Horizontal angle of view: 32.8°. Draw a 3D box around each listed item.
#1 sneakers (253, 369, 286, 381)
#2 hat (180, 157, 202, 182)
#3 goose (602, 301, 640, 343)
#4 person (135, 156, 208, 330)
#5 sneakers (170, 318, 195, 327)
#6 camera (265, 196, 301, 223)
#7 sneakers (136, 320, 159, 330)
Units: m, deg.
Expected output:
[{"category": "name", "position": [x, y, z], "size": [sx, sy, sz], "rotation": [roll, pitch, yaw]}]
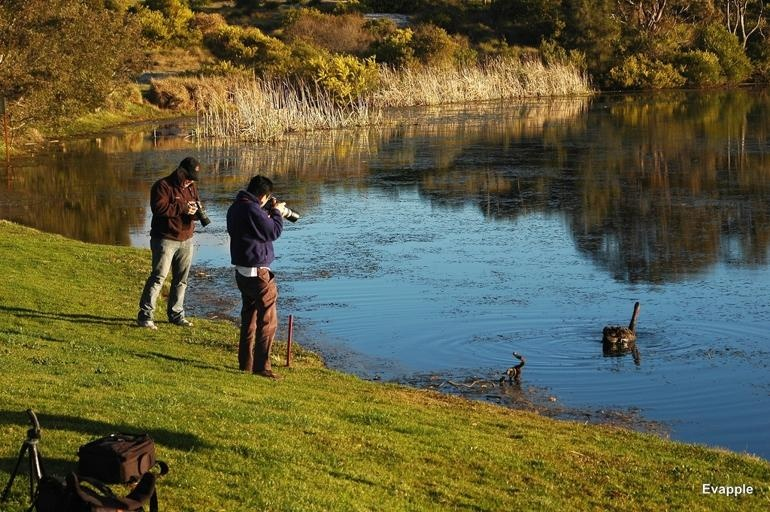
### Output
[{"category": "sneakers", "position": [-2.544, 2.645, 28.915], "size": [0.695, 0.273, 0.229], "rotation": [4, 1, 3]}, {"category": "hat", "position": [-4.523, -2.005, 30.236], "size": [0.439, 0.557, 0.852], "rotation": [2, -2, -8]}, {"category": "goose", "position": [5.559, 1.583, 30.630], "size": [0.708, 0.990, 1.237], "rotation": [1, -2, 26]}, {"category": "person", "position": [-4.927, -0.284, 30.271], "size": [1.335, 3.943, 1.123], "rotation": [2, -2, -8]}, {"category": "sneakers", "position": [-4.775, 1.566, 30.793], "size": [0.605, 0.240, 0.198], "rotation": [1, 6, 0]}, {"category": "camera", "position": [-2.251, -0.986, 28.752], "size": [0.718, 0.431, 0.240], "rotation": [40, 3, -21]}, {"category": "sneakers", "position": [-5.511, 1.629, 30.380], "size": [0.423, 0.177, 0.215], "rotation": [13, 4, 3]}]
